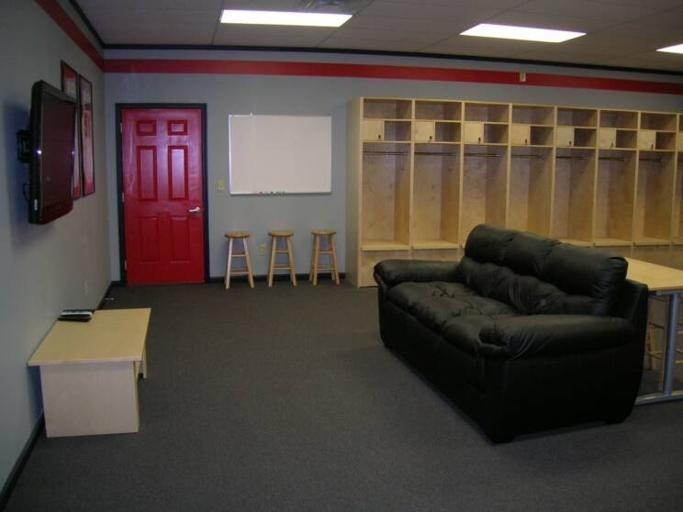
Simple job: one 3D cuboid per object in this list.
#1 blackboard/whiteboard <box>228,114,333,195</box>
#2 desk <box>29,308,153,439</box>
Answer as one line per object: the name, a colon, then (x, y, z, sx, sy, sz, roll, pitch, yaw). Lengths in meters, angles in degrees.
blackboard/whiteboard: (-0.868, -1.375, 7.141, 0.972, 0.761, 0.111, 0, 4, -8)
desk: (-1.689, 0.783, 3.714, 0.597, 0.509, 0.985, 0, 7, -9)
